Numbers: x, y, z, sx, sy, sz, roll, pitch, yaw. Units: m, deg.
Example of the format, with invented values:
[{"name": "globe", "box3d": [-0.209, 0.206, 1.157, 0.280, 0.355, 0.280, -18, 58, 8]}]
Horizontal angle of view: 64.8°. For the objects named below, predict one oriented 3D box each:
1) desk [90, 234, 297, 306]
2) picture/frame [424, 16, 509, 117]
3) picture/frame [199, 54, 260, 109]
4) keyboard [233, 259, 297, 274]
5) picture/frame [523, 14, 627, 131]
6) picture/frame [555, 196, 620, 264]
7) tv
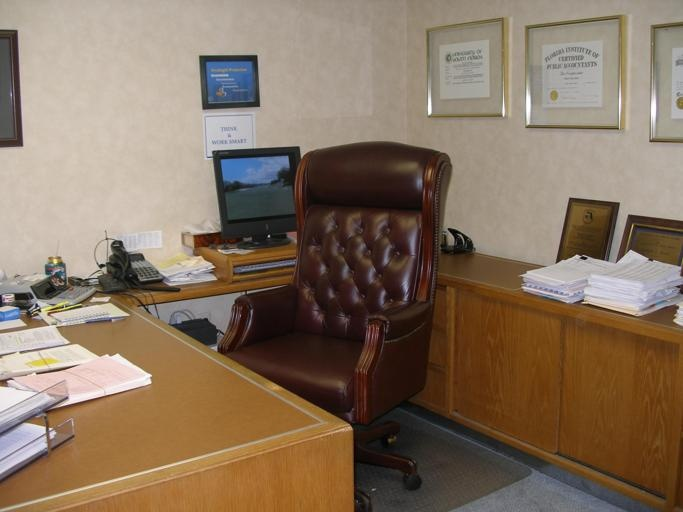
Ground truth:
[{"name": "desk", "box3d": [-0.666, 0.055, 3.281, 0.861, 0.191, 0.491, -9, 20, 1]}, {"name": "picture/frame", "box3d": [0.807, -1.226, 3.528, 0.072, 0.593, 0.676, -17, 22, -31]}, {"name": "picture/frame", "box3d": [-0.741, -1.145, 3.479, 0.359, 0.305, 0.036, -5, 8, -26]}, {"name": "keyboard", "box3d": [-0.464, 0.079, 3.218, 0.441, 0.075, 0.049, -6, -8, -29]}, {"name": "picture/frame", "box3d": [1.301, -1.026, 2.957, 0.057, 0.726, 0.707, -6, 7, -42]}, {"name": "picture/frame", "box3d": [1.363, -0.133, 3.014, 0.238, 0.427, 0.045, 10, 33, 24]}, {"name": "tv", "box3d": [-0.531, -0.364, 3.388, 0.655, 0.695, 0.227, -2, -1, -29]}]
